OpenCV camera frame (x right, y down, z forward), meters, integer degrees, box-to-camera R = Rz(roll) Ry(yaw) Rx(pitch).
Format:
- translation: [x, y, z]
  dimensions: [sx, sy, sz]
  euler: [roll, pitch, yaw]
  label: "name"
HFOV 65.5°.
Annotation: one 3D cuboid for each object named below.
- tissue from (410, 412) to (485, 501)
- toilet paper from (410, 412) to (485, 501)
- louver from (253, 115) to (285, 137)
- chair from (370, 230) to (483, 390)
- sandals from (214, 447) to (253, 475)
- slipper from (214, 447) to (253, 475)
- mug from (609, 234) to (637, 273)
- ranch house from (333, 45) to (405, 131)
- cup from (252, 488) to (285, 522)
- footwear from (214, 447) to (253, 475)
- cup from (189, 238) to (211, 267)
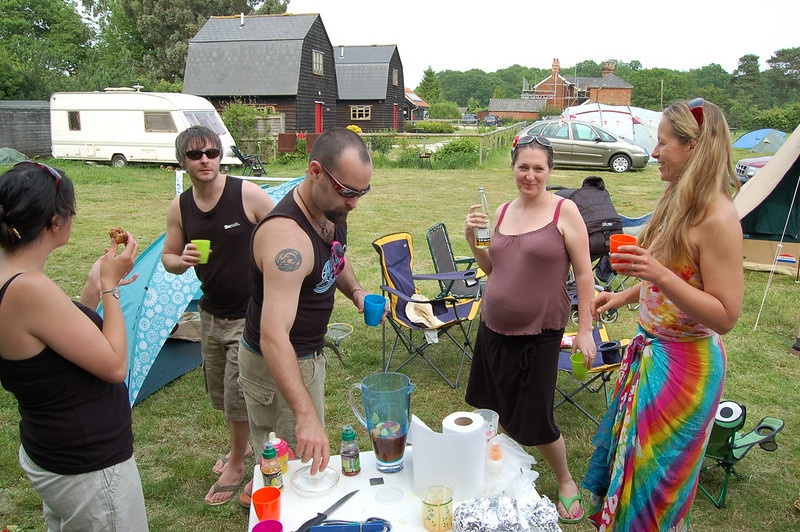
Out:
- translation: [0.239, 0.969, 3.449]
  dimensions: [0.420, 0.471, 0.418]
  euler: [-7, 17, -17]
  label: "tissue"
- translation: [0.227, 0.958, 3.441]
  dimensions: [0.420, 0.471, 0.418]
  euler: [-7, 17, -17]
  label: "toilet paper"
- translation: [-4.290, -4.712, 20.560]
  dimensions: [0.793, 0.674, 0.825]
  euler: [2, 16, 6]
  label: "louver"
- translation: [0.270, 0.492, 6.498]
  dimensions: [1.263, 1.828, 1.522]
  euler: [3, 10, 19]
  label: "chair"
- translation: [-1.278, 1.511, 4.890]
  dimensions: [0.135, 0.131, 0.348]
  euler: [-31, -6, 25]
  label: "sandals"
- translation: [-1.294, 1.482, 4.899]
  dimensions: [0.135, 0.131, 0.348]
  euler: [-31, -6, 25]
  label: "slipper"
- translation: [1.263, -0.077, 3.533]
  dimensions: [0.132, 0.206, 0.122]
  euler: [6, 16, 19]
  label: "mug"
- translation: [-1.643, -9.432, 32.710]
  dimensions: [3.760, 4.373, 5.338]
  euler: [0, 15, -1]
  label: "ranch house"
- translation: [-0.683, 1.228, 3.225]
  dimensions: [0.143, 0.144, 0.158]
  euler: [-1, -4, -5]
  label: "cup"
- translation: [-1.283, 1.502, 4.894]
  dimensions: [0.135, 0.131, 0.348]
  euler: [-31, -6, 25]
  label: "footwear"
- translation: [-1.325, -0.096, 4.219]
  dimensions: [0.145, 0.169, 0.152]
  euler: [-2, 3, 0]
  label: "cup"
